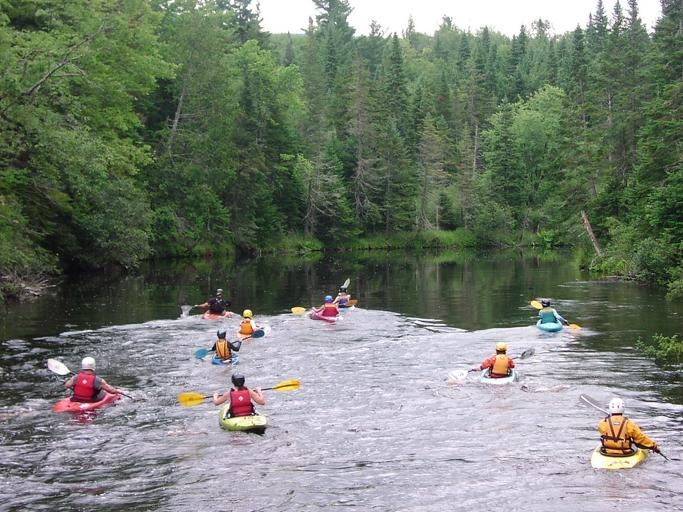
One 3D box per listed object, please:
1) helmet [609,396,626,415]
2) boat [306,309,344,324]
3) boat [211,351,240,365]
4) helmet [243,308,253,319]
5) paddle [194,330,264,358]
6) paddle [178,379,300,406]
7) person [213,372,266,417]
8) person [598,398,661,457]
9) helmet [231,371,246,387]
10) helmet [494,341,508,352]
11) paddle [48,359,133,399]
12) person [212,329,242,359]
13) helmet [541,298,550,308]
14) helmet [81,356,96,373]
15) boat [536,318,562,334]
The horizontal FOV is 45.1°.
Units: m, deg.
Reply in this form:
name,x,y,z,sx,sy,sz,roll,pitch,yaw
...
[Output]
name,x,y,z,sx,sy,sz,roll,pitch,yaw
helmet,7.321,3.896,21.920,0.468,0.508,0.561,4,11,14
boat,-0.773,2.494,35.464,1.673,0.557,1.352,-2,-5,15
boat,-4.085,3.471,28.778,1.030,0.412,0.553,0,-4,-7
helmet,-3.805,2.219,33.314,0.369,0.420,0.454,9,18,25
paddle,-4.096,3.140,30.377,3.680,0.471,0.227,-13,2,-11
paddle,-3.919,4.109,25.825,4.370,0.670,0.739,-2,9,7
person,-3.102,4.106,24.848,1.170,0.729,2.133,-3,-31,-8
person,7.671,4.509,22.381,1.249,0.910,1.718,-1,-3,18
helmet,-3.024,3.489,24.144,0.384,0.410,0.426,0,6,-11
helmet,5.217,2.842,26.632,0.480,0.312,0.657,-1,-4,3
paddle,-8.060,3.818,26.204,3.114,0.490,0.205,22,14,28
person,-4.159,3.090,29.798,0.956,1.527,0.549,1,22,9
helmet,8.354,1.794,33.289,0.358,0.368,0.468,5,9,7
helmet,-7.774,3.162,25.181,0.488,0.545,0.605,5,11,-10
boat,8.345,2.655,32.719,1.016,0.473,0.692,-1,-4,12
